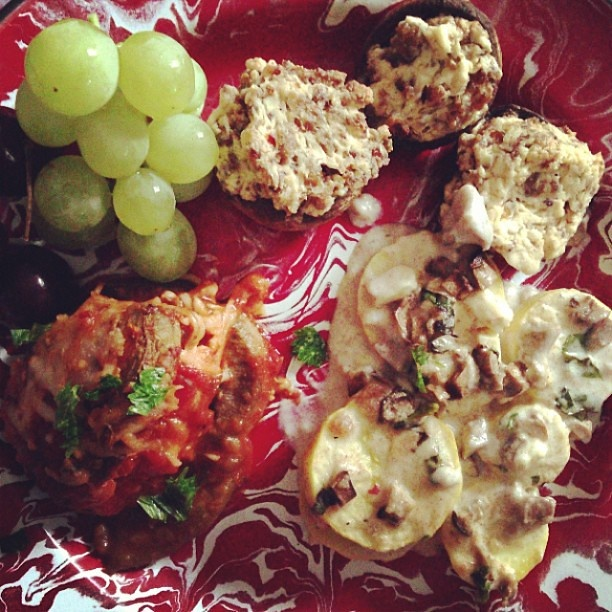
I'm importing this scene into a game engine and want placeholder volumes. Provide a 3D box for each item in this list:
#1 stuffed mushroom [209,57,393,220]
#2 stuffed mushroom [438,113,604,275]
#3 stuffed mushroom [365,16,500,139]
[{"bbox_3d":[-0.027,-0.480,2.419,0.505,0.298,0.421,25,67,4],"label":"stuffed mushroom"},{"bbox_3d":[0.643,-0.367,2.561,0.446,0.312,0.478,27,67,5],"label":"stuffed mushroom"},{"bbox_3d":[0.381,-0.679,2.483,0.394,0.290,0.288,3,68,-5],"label":"stuffed mushroom"}]
